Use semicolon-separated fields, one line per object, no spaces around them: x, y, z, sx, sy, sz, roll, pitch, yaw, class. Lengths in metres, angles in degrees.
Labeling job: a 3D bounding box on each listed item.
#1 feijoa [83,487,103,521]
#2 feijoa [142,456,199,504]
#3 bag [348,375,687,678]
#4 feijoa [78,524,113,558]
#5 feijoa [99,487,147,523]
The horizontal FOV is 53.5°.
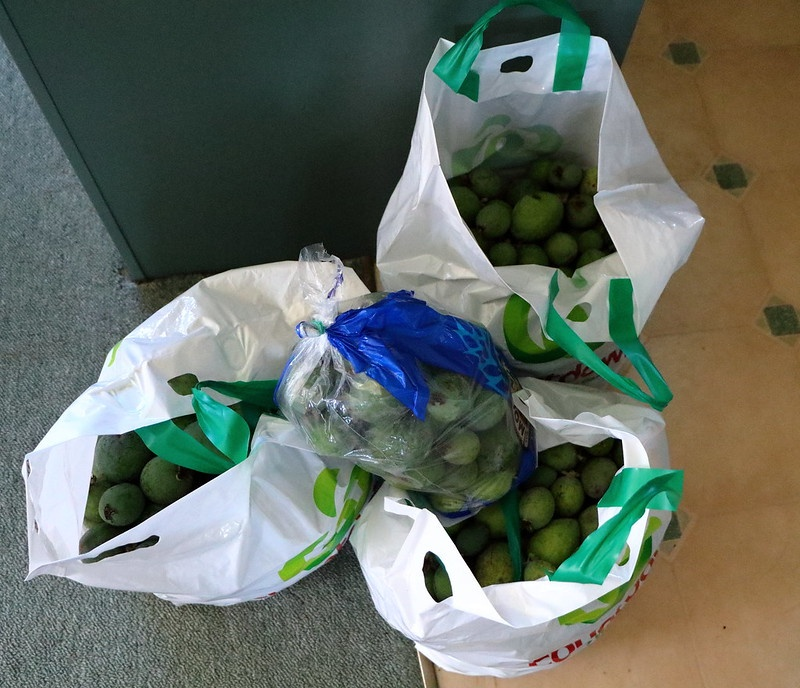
-0.357;0.187;0.924;0.020;0.027;0.035;7;109;5;feijoa
-0.267;0.156;0.903;0.053;0.028;0.042;17;65;4;feijoa
0.124;0.209;0.911;0.298;0.293;0.210;-31;83;2;bag
-0.346;0.220;0.901;0.030;0.038;0.023;-33;90;20;feijoa
-0.309;0.176;0.897;0.036;0.049;0.038;0;94;30;feijoa
